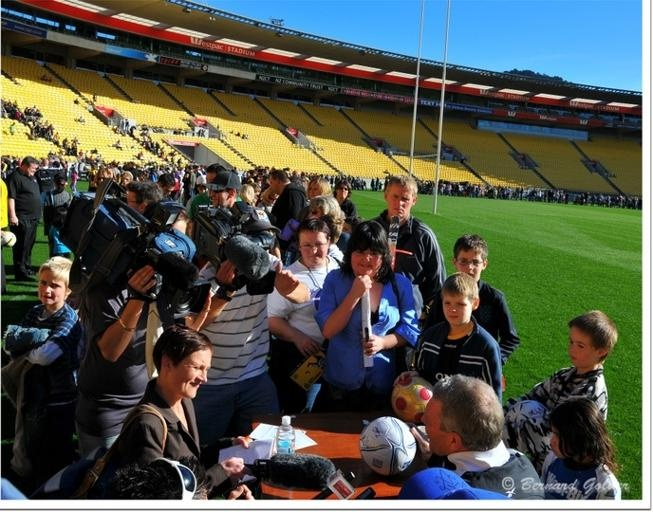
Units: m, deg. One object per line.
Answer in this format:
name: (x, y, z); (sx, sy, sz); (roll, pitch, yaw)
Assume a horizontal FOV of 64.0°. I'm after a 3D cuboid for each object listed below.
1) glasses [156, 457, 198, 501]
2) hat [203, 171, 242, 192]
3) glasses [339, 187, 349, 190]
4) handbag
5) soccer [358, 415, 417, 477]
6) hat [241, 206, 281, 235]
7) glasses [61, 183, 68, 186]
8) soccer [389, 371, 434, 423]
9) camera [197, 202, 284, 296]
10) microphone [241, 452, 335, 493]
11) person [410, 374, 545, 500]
glasses: (-0.614, 0.979, 2.261); (0.185, 0.153, 0.098); (8, -17, 4)
hat: (-0.816, -0.601, 4.206); (0.226, 0.123, 0.157); (-2, 18, -28)
glasses: (0.238, -0.993, 7.543); (0.105, 0.083, 0.041); (2, 9, -16)
handbag: (-1.075, 1.004, 2.677); (0.123, 0.507, 0.320); (40, -18, -19)
soccer: (0.321, 1.036, 2.936); (0.303, 0.304, 0.289); (21, -23, 3)
hat: (-0.380, -0.188, 3.055); (0.183, 0.088, 0.134); (20, 27, -32)
glasses: (-4.913, -1.365, 9.777); (0.095, 0.070, 0.095); (4, 14, 8)
soccer: (0.561, 0.890, 3.456); (0.277, 0.331, 0.283); (-22, -5, 13)
camera: (-0.509, -0.049, 2.984); (0.362, 0.298, 0.573); (-1, 25, -34)
microphone: (-0.174, 1.067, 2.621); (0.323, 0.099, 0.197); (0, -7, 14)
person: (0.748, 0.885, 2.799); (0.726, 0.458, 0.449); (11, 4, 43)
